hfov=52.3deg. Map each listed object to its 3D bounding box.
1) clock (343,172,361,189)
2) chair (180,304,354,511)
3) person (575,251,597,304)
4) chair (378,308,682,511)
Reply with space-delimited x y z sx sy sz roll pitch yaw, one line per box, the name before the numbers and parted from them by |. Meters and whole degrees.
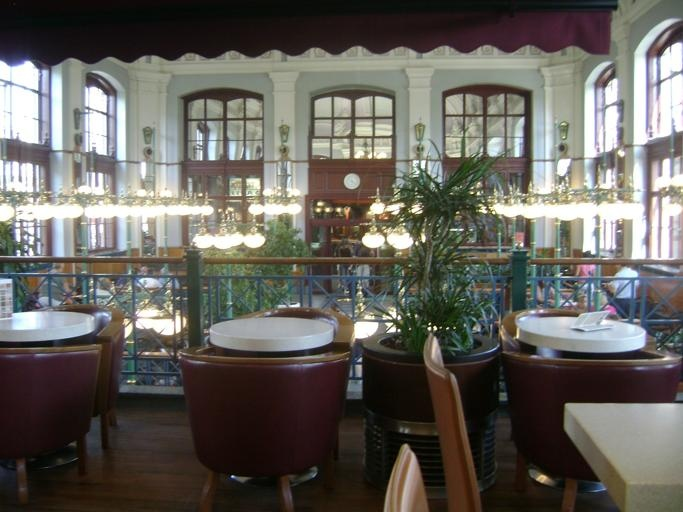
clock | 0.251 -1.652 15.470 0.411 0.362 0.139 -2 3 12
chair | -0.327 0.931 4.388 0.960 1.144 0.884 1 -2 12
person | 3.248 0.304 9.117 0.280 0.874 0.195 -5 20 5
chair | 1.436 0.741 4.206 1.036 1.164 1.031 -2 -1 36
